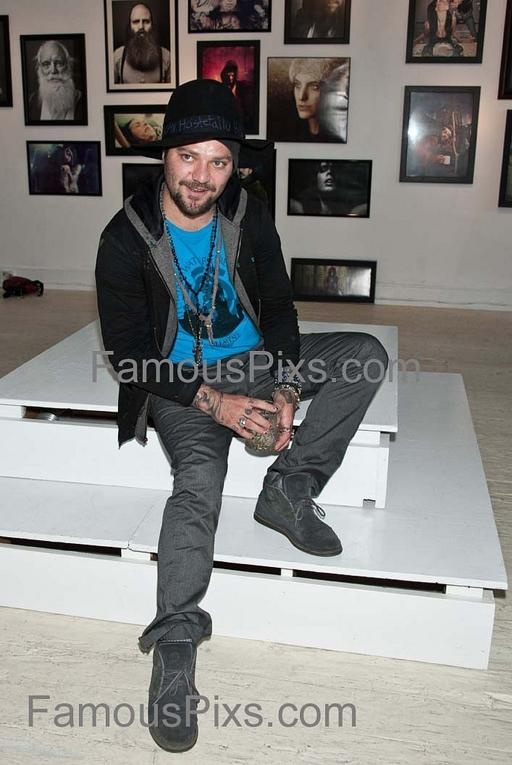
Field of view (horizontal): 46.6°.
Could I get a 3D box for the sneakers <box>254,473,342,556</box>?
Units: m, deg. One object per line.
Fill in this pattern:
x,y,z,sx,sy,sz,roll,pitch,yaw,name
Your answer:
0.143,0.329,1.659,0.111,0.171,0.298,-16,30,-37,sneakers

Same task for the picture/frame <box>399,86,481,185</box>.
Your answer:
1.638,-2.201,5.216,0.740,0.955,0.065,3,15,7,picture/frame

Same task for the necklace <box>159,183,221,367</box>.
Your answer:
-0.162,-0.302,1.728,0.137,0.509,0.030,-3,-2,-20,necklace

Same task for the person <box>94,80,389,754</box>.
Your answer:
-0.102,0.024,1.616,0.686,1.258,0.932,8,11,39,person

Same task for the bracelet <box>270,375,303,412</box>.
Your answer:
0.099,0.027,1.744,0.079,0.048,0.097,0,33,-10,bracelet

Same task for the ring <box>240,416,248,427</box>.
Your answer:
-0.036,0.106,1.577,0.017,0.026,0.007,2,0,6,ring

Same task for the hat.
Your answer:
-0.179,-0.662,1.552,0.177,0.125,0.231,-10,11,-38,hat

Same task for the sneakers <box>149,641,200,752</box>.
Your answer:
-0.160,0.622,1.162,0.073,0.082,0.226,0,18,-5,sneakers
